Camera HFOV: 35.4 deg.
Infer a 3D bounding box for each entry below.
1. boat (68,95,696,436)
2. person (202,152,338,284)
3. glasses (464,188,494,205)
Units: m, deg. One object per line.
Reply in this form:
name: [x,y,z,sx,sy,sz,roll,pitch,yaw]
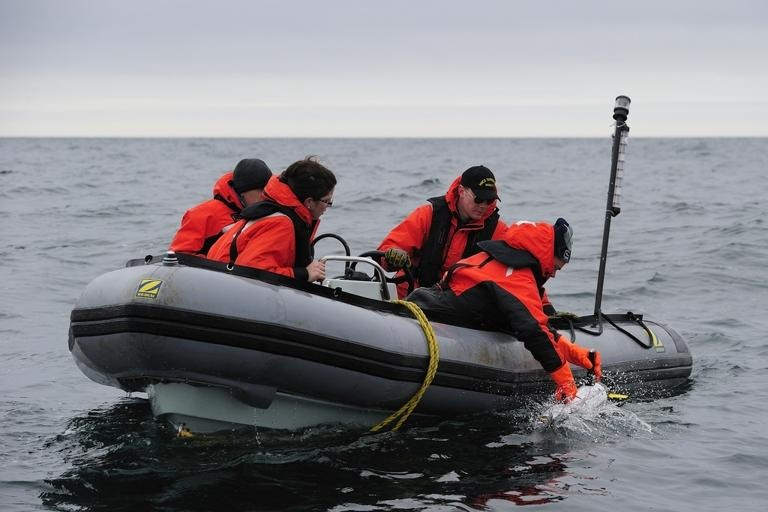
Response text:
boat: [-0.663,0.362,13.038,6.689,2.693,3.145,0,1,-24]
person: [-1.044,-0.325,11.470,1.159,1.203,0.436,-1,11,-6]
glasses: [0.991,-0.591,12.357,0.242,0.047,0.219,7,11,-30]
